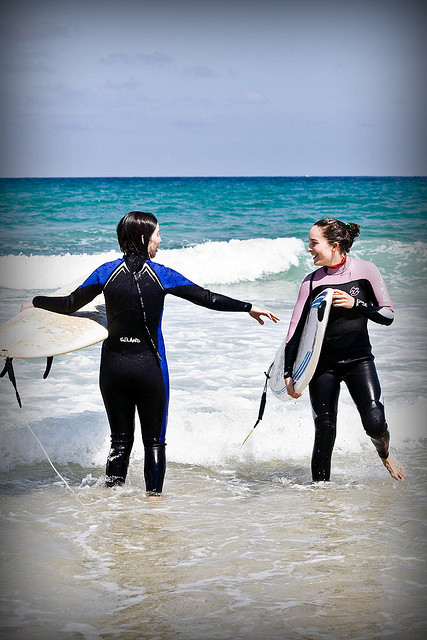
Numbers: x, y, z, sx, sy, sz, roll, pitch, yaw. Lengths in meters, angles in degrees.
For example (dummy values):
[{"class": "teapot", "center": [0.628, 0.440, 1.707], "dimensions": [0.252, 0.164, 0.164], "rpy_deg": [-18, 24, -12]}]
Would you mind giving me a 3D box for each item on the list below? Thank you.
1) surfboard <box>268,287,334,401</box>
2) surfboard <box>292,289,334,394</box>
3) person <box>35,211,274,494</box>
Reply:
[{"class": "surfboard", "center": [0.522, 0.201, 4.057], "dimensions": [0.080, 0.638, 0.465], "rpy_deg": [18, 41, 4]}, {"class": "surfboard", "center": [0.591, 0.127, 4.014], "dimensions": [0.162, 0.623, 0.428], "rpy_deg": [-1, 3, -15]}, {"class": "person", "center": [-0.415, 0.209, 3.815], "dimensions": [1.057, 1.639, 0.293], "rpy_deg": [1, 4, 16]}]
